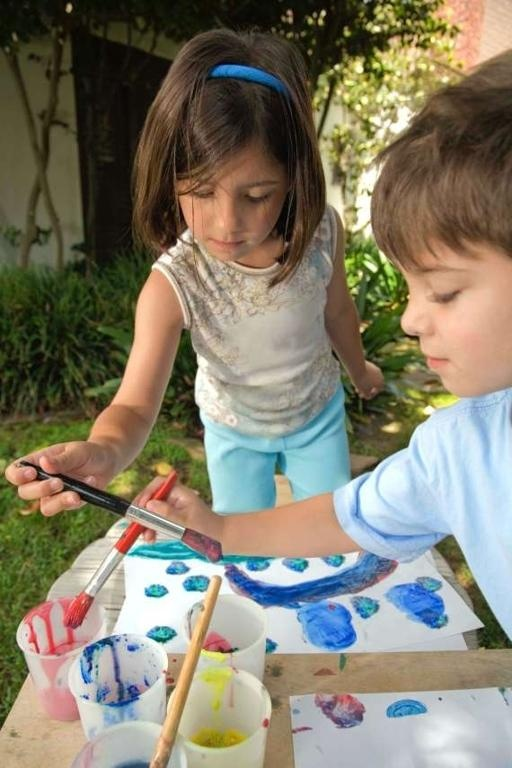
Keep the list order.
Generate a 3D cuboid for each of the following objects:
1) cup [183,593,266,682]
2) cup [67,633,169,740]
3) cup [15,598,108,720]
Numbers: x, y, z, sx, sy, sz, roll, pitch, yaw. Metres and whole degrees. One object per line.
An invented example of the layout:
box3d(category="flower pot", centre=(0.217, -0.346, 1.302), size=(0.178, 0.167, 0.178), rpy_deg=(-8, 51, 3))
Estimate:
box3d(category="cup", centre=(-0.030, 0.353, 0.858), size=(0.109, 0.118, 0.117), rpy_deg=(-2, 26, 1))
box3d(category="cup", centre=(-0.167, 0.365, 0.772), size=(0.112, 0.087, 0.119), rpy_deg=(0, 34, 0))
box3d(category="cup", centre=(-0.272, 0.363, 0.835), size=(0.124, 0.132, 0.134), rpy_deg=(1, 27, 0))
